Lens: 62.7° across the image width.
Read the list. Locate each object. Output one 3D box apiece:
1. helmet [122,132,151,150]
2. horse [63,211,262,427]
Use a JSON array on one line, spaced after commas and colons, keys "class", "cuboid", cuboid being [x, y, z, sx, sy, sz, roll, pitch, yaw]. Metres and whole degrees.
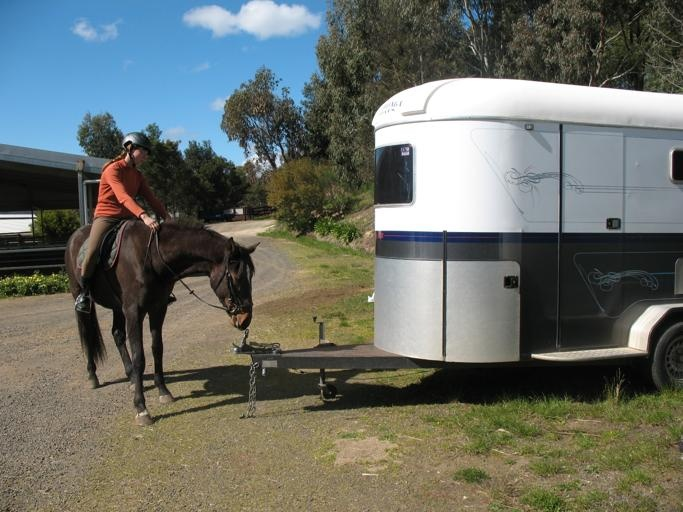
[{"class": "helmet", "cuboid": [-2.840, -1.585, 7.787, 0.360, 0.252, 0.301, -4, 7, -23]}, {"class": "horse", "cuboid": [-2.407, 0.798, 7.682, 2.714, 2.562, 1.197, 4, 7, 36]}]
